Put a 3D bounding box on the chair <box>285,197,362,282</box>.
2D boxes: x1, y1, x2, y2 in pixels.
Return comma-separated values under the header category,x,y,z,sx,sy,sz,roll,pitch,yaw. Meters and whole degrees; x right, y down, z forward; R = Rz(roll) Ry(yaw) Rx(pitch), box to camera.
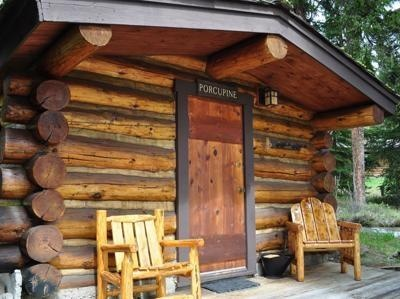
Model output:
category,x,y,z,sx,sy,sz,roll,pitch,yaw
chair,2.274,1.511,5.994,0.956,1.361,1.090,0,-15,-9
